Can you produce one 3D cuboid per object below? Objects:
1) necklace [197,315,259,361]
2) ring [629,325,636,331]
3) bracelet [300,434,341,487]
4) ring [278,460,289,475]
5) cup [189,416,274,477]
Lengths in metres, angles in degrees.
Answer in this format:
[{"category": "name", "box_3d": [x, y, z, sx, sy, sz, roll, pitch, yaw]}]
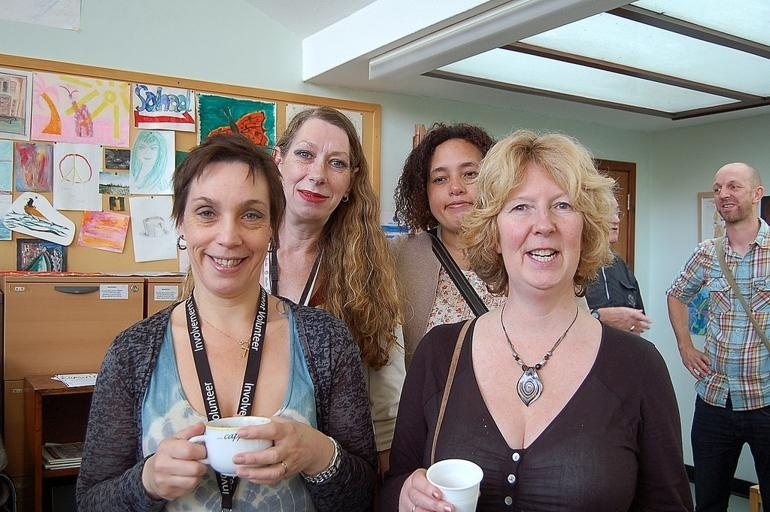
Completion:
[{"category": "necklace", "box_3d": [-0.485, 0.256, 1.675, 0.158, 0.084, 0.089, 28, -3, -7]}, {"category": "ring", "box_3d": [1.384, 0.402, 2.955, 0.008, 0.025, 0.020, 5, -6, -33]}, {"category": "bracelet", "box_3d": [-0.186, 0.619, 1.642, 0.129, 0.136, 0.065, -20, -8, 10]}, {"category": "ring", "box_3d": [-0.278, 0.592, 1.479, 0.032, 0.034, 0.028, 3, 9, -10]}, {"category": "cup", "box_3d": [-0.424, 0.515, 1.465, 0.223, 0.132, 0.144, -1, -1, 2]}]
